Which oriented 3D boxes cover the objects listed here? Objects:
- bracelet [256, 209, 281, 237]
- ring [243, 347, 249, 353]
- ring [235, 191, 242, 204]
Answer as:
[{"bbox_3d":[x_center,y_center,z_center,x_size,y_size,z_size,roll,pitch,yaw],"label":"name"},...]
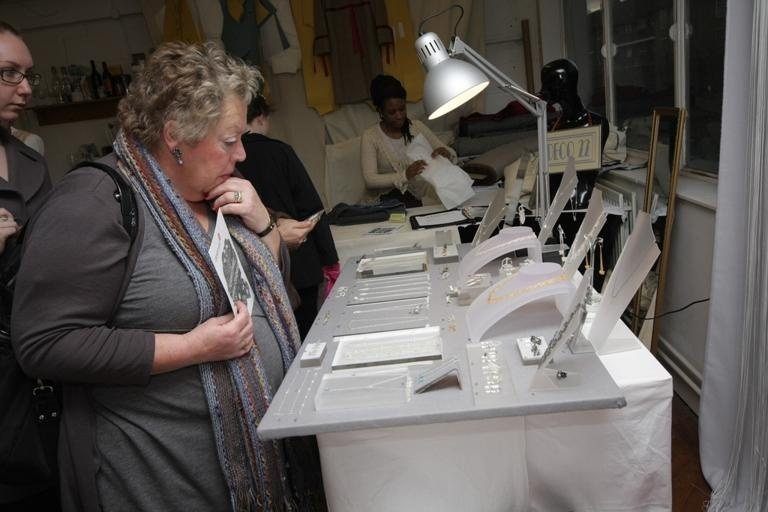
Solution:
[{"bbox_3d":[-0.469,-0.131,2.091,0.113,0.125,0.076,-2,-8,38],"label":"bracelet"},{"bbox_3d":[-0.450,0.307,1.688,0.015,0.014,0.004,21,-18,-32],"label":"ring"},{"bbox_3d":[-0.522,-0.212,1.840,0.028,0.031,0.026,5,3,0],"label":"ring"}]
